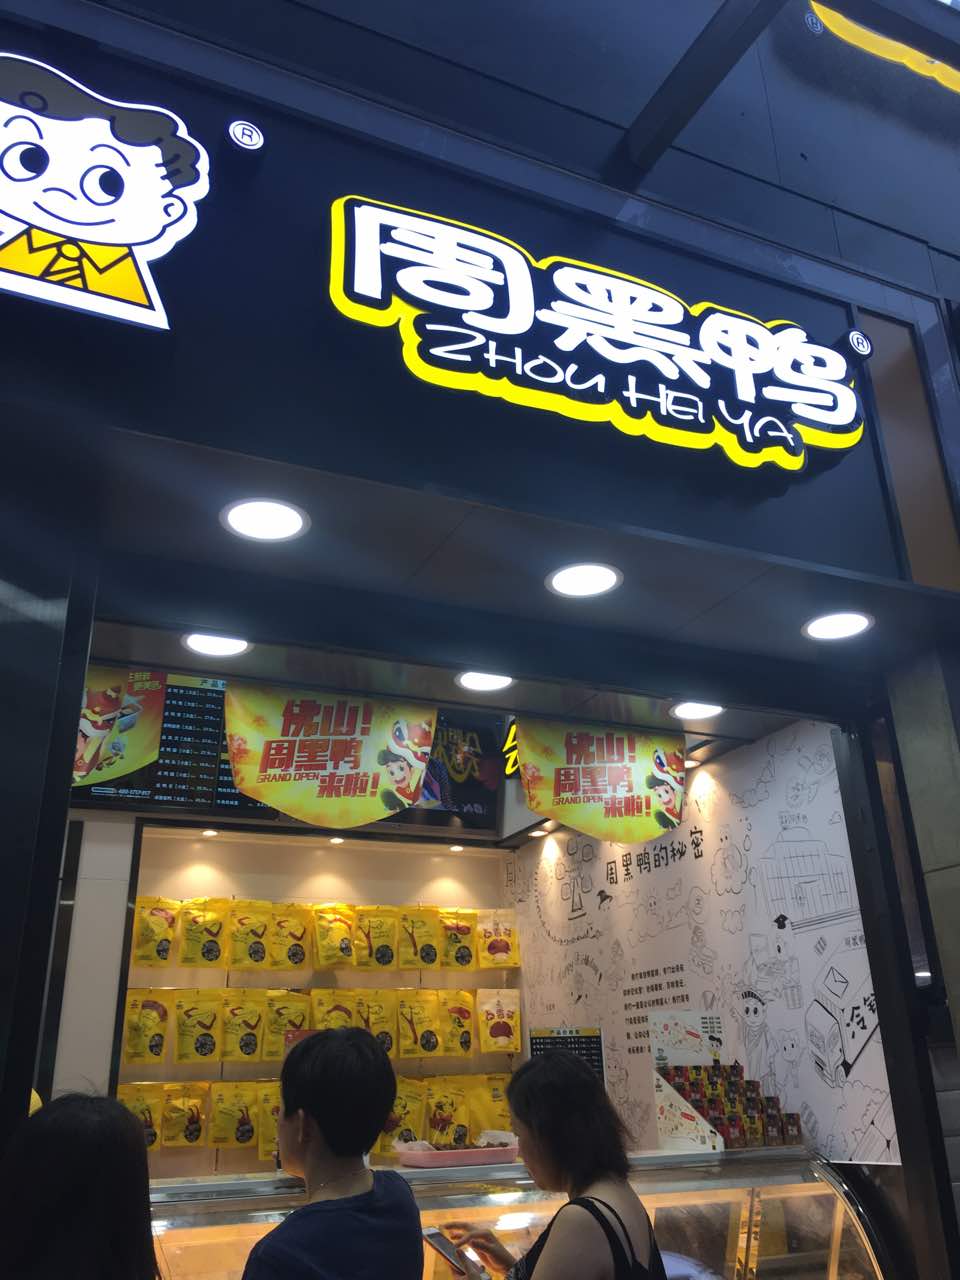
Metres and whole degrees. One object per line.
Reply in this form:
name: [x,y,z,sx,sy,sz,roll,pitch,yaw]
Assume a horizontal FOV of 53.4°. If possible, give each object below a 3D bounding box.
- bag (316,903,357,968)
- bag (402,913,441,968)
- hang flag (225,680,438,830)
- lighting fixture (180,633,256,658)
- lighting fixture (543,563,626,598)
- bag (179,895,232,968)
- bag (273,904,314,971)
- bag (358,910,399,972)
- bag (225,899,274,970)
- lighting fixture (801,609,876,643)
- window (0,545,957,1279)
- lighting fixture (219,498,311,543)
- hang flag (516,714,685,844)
bag: [-0.822,1.697,5.423,0.293,0.374,0.082,8,-37,-23]
bag: [-0.357,1.788,5.634,0.275,0.370,0.055,10,-31,-23]
hang flag: [-0.497,0.391,3.218,0.722,0.469,0.225,2,-15,-11]
lighting fixture: [-0.801,0.025,2.888,0.117,0.023,0.115,7,-19,-29]
lighting fixture: [0.291,-0.159,2.655,0.214,0.036,0.203,-12,-18,38]
bag: [-1.490,1.595,5.163,0.312,0.396,0.087,17,-40,-35]
bag: [-1.056,1.687,5.368,0.328,0.435,0.082,12,-42,-29]
bag: [-0.597,1.753,5.527,0.316,0.443,0.065,11,-35,-26]
bag: [-1.279,1.643,5.269,0.322,0.443,0.107,14,-40,-30]
lighting fixture: [1.122,-0.036,2.984,0.197,0.041,0.258,-11,-17,37]
window: [0.186,1.187,4.270,3.160,1.942,3.131,4,-11,-18]
lighting fixture: [-0.521,-0.283,2.315,0.204,0.037,0.202,1,-14,-8]
hang flag: [0.493,0.521,3.703,0.795,0.549,0.108,8,-32,-14]
